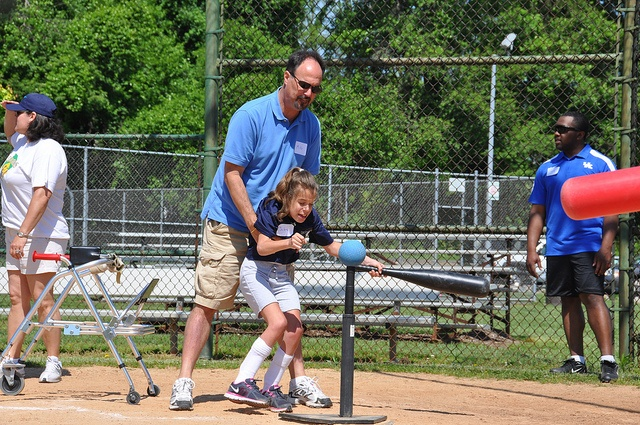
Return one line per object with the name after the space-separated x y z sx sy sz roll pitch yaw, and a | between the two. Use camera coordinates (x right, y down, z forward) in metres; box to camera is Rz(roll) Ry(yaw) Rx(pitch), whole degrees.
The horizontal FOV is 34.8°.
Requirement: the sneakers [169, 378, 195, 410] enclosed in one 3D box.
-1.667 2.186 12.313 0.278 0.381 0.166 2 -3 -9 | sneakers

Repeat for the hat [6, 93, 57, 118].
-3.715 -1.416 13.163 0.512 0.201 0.313 5 0 0 | hat

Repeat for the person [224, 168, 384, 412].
-0.476 0.924 12.411 1.063 2.971 0.601 0 -4 22 | person

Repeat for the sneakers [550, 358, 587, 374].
3.364 2.066 13.722 0.520 0.191 0.196 2 -10 1 | sneakers

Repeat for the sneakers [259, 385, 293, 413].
-0.514 2.249 12.299 0.458 0.199 0.207 7 3 40 | sneakers

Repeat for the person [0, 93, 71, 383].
-3.720 0.019 13.147 0.899 3.177 0.499 1 -3 6 | person

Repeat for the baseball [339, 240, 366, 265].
0.381 0.452 11.922 0.301 0.275 0.288 2 -1 20 | baseball

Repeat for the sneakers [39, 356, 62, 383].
-3.459 2.019 13.199 0.307 0.341 0.211 3 -4 -26 | sneakers

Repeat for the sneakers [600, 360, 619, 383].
3.807 2.082 13.418 0.230 0.293 0.143 0 -3 14 | sneakers
